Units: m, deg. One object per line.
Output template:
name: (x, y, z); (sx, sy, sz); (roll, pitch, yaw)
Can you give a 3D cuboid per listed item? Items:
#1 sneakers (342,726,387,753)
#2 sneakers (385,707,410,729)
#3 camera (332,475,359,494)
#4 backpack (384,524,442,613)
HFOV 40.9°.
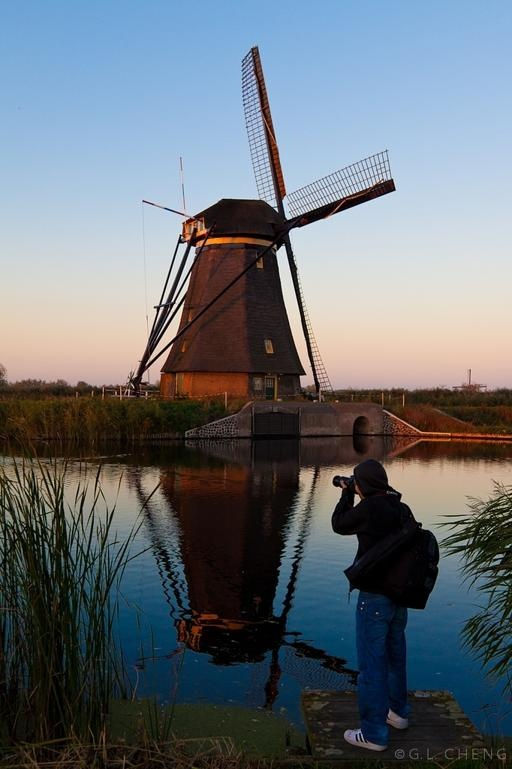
sneakers: (0.604, 1.993, 3.831); (0.230, 0.099, 0.085); (7, 3, 42)
sneakers: (0.836, 1.980, 4.049); (0.062, 0.081, 0.181); (1, 2, -12)
camera: (0.559, 0.601, 4.238); (0.128, 0.075, 0.119); (4, -31, 29)
backpack: (0.914, 1.052, 3.969); (0.243, 0.445, 0.310); (4, -19, 37)
